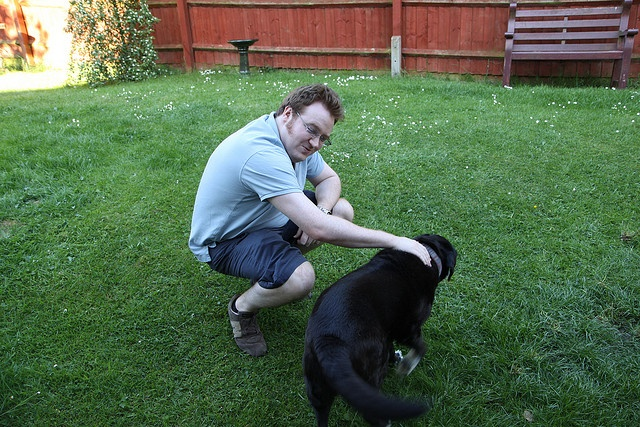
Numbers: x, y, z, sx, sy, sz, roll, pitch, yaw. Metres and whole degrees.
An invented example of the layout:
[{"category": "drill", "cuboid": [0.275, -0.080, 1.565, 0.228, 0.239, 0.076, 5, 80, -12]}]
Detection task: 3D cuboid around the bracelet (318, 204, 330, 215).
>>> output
[{"category": "bracelet", "cuboid": [0.027, -0.020, 3.896, 0.079, 0.034, 0.072, 41, 8, -1]}]
